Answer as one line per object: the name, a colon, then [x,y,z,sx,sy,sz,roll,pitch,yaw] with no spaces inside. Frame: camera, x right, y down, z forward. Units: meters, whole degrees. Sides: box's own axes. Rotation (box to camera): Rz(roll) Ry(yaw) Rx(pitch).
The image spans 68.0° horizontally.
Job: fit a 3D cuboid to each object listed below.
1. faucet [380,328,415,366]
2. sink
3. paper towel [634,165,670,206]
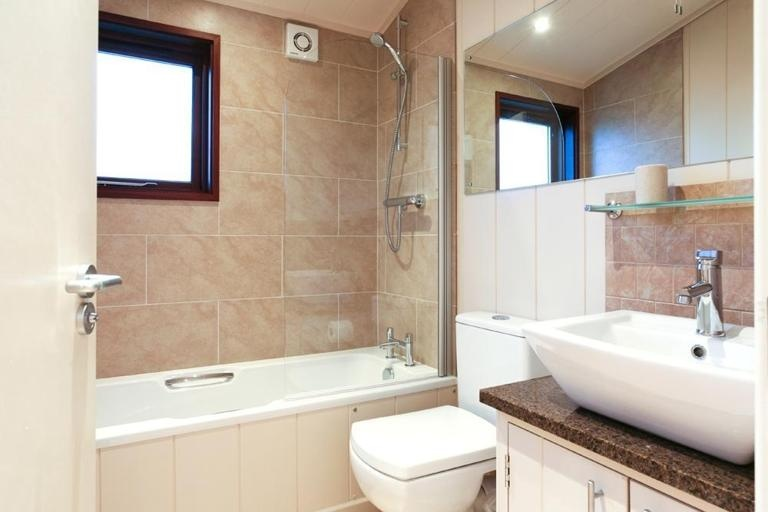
faucet: [0.067,0.443,2.939,0.182,0.179,0.226,4,-4,-42]
sink: [0.923,0.384,1.918,0.565,0.269,0.846,-2,6,22]
paper towel: [0.980,-0.267,2.102,0.117,0.131,0.118,0,9,35]
